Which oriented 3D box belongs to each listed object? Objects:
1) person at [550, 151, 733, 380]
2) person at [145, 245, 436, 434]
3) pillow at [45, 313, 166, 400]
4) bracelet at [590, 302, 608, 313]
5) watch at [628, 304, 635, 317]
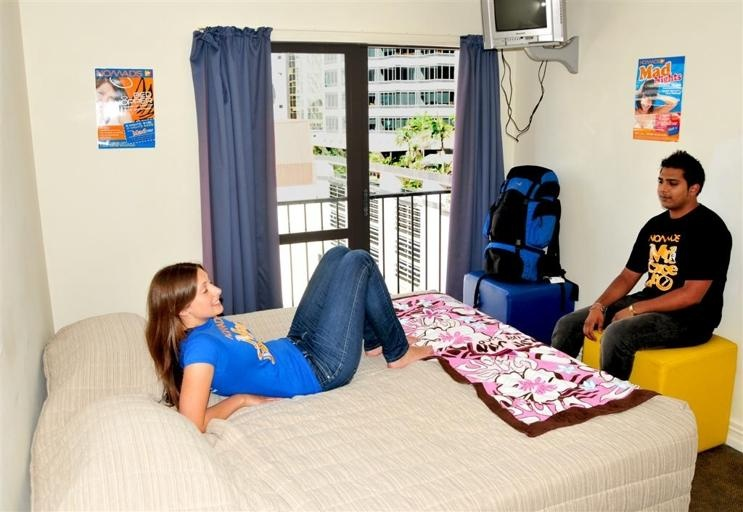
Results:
[{"bbox_3d":[1.614,0.215,3.357,0.997,1.661,0.644,0,8,-9],"label":"person"},{"bbox_3d":[-0.348,0.283,2.690,1.313,0.668,0.684,-16,29,-26],"label":"person"},{"bbox_3d":[-1.310,0.528,2.688,0.439,0.441,0.136,-8,-28,-29],"label":"pillow"},{"bbox_3d":[1.430,0.327,3.485,0.053,0.029,0.066,15,3,-17],"label":"bracelet"},{"bbox_3d":[1.550,0.324,3.277,0.019,0.050,0.039,-8,-20,5],"label":"watch"}]
